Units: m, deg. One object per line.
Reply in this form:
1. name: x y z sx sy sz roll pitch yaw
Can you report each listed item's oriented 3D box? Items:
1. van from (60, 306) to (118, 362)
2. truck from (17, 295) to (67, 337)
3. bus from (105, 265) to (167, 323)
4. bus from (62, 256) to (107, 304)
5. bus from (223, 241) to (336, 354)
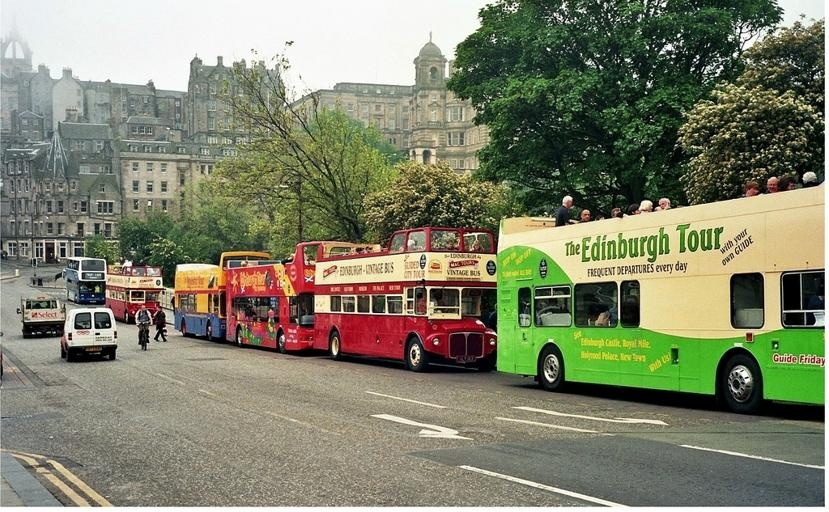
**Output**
1. van: -15.524 3.559 46.838 1.756 1.745 3.195 0 1 -21
2. truck: -23.844 4.163 62.818 2.978 2.652 4.451 1 0 -21
3. bus: -21.108 2.842 73.663 3.543 4.646 7.711 1 -2 -22
4. bus: -31.531 2.131 92.840 2.490 4.513 16.053 -3 5 -27
5. bus: -6.298 2.588 53.787 3.525 5.125 9.467 1 -4 -34
